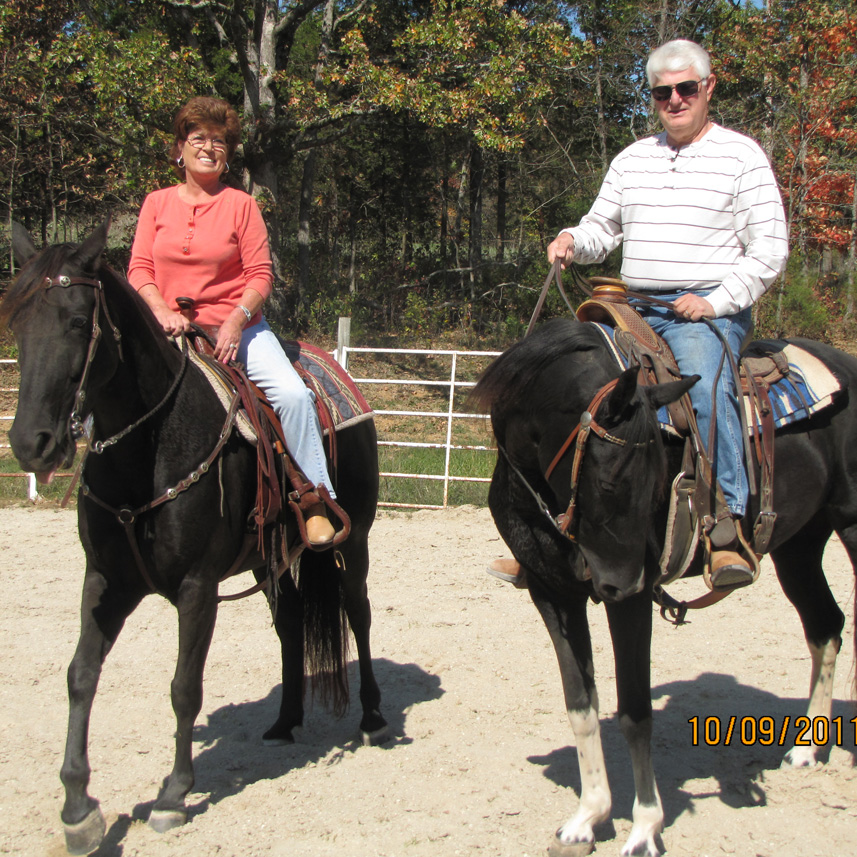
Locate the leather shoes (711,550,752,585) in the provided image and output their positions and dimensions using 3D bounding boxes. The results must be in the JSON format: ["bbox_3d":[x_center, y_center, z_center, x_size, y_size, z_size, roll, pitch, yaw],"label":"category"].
[{"bbox_3d":[1.164,0.546,4.479,0.081,0.102,0.241,-6,-26,10],"label":"leather shoes"}]

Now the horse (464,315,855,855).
[{"bbox_3d":[1.086,0.555,5.039,1.857,2.086,1.069,-8,12,-43],"label":"horse"}]

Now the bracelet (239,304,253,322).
[{"bbox_3d":[-0.815,-0.521,5.181,0.051,0.025,0.062,28,10,-9],"label":"bracelet"}]

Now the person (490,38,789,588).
[{"bbox_3d":[0.924,-0.546,4.750,1.132,2.453,1.389,6,-7,-27],"label":"person"}]
